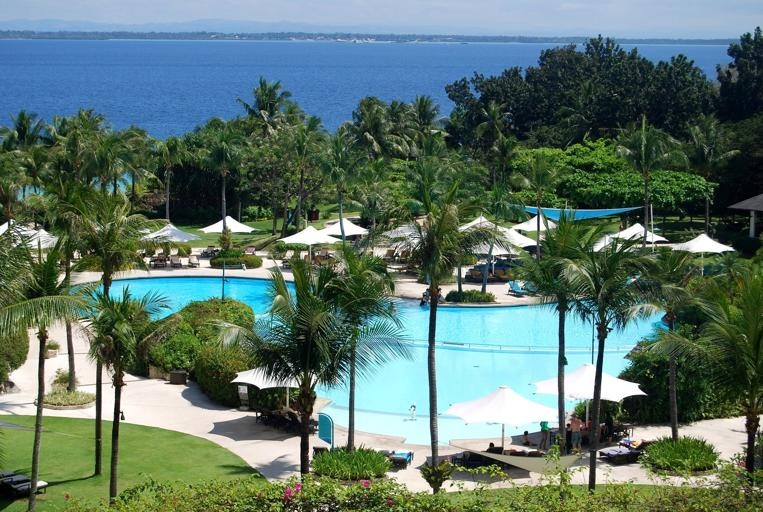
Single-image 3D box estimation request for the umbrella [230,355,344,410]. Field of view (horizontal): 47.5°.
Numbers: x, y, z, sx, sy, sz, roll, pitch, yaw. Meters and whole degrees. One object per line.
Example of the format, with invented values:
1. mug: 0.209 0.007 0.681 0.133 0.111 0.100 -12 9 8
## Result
1. umbrella: -4.607 4.772 33.043 2.157 1.239 2.415 -2 5 -37
